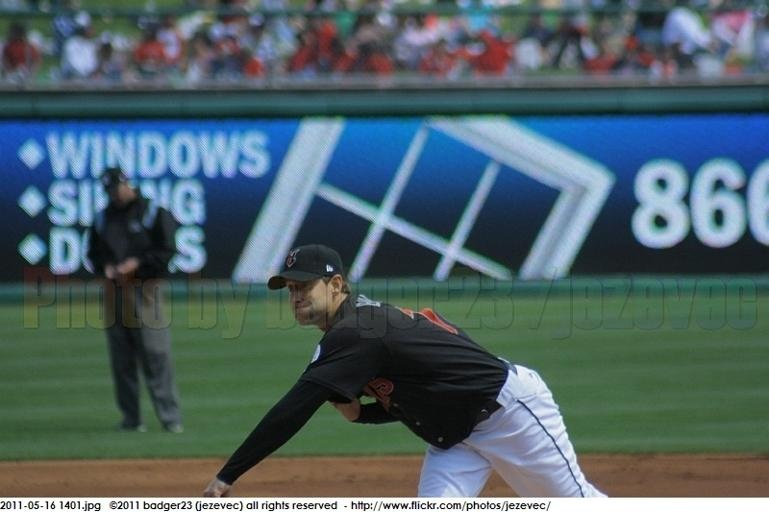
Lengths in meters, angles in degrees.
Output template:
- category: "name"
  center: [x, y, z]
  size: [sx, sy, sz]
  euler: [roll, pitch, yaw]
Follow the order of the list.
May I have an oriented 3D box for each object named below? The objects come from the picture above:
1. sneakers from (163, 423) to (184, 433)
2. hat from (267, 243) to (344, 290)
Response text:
- category: "sneakers"
  center: [-1.536, 1.265, 12.546]
  size: [0.120, 0.062, 0.119]
  euler: [0, 7, -27]
- category: "hat"
  center: [-0.495, 0.065, 10.966]
  size: [0.534, 0.241, 0.364]
  euler: [1, -8, -34]
